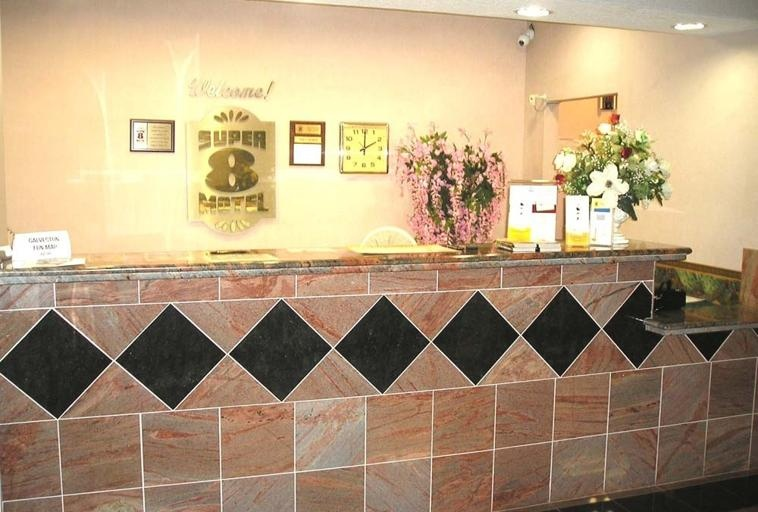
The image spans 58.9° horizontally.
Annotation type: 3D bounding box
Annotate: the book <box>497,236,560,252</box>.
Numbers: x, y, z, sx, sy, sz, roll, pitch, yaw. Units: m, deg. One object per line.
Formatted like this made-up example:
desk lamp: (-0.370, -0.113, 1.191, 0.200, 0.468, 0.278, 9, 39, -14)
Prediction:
book: (0.944, -0.070, 4.245, 0.396, 0.080, 0.186, -1, 10, 9)

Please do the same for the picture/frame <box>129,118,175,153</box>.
picture/frame: (-2.159, -1.140, 6.408, 0.411, 0.338, 0.039, -1, -12, -15)

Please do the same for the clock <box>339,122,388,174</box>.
clock: (-0.185, -1.126, 6.858, 0.533, 0.532, 0.073, 0, 9, -9)

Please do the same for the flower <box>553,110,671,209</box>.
flower: (1.577, -0.694, 4.408, 0.372, 0.452, 0.374, 6, -15, -16)

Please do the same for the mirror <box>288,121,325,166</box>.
mirror: (-0.745, -1.140, 6.705, 0.456, 0.526, 0.051, 0, 4, -23)

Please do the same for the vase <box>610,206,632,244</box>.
vase: (1.601, -0.201, 4.437, 0.141, 0.210, 0.142, 8, 27, 39)
